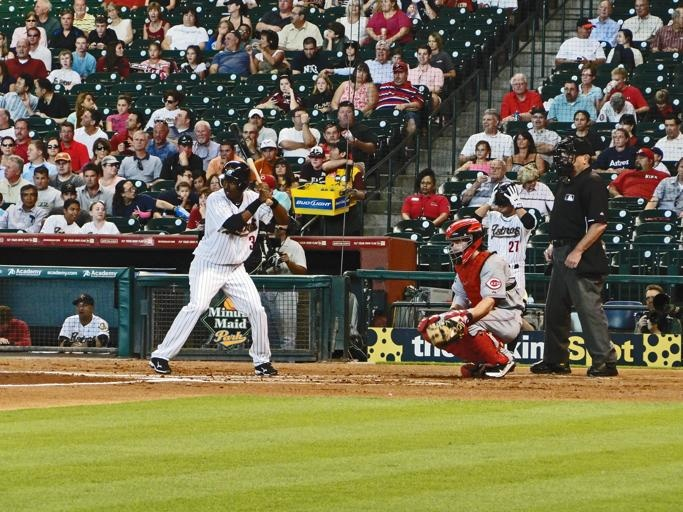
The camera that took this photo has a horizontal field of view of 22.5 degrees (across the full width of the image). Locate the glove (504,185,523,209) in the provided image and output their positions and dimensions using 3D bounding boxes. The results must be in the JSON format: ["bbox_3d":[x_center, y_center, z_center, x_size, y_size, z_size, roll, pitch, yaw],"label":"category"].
[{"bbox_3d":[2.278,-0.812,22.925,0.165,0.311,0.360,0,-4,17],"label":"glove"}]

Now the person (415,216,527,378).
[{"bbox_3d":[1.669,0.503,20.972,1.188,1.942,1.085,3,9,38],"label":"person"}]

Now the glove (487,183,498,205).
[{"bbox_3d":[2.116,-0.900,24.237,0.146,0.194,0.615,-26,-2,3],"label":"glove"}]
